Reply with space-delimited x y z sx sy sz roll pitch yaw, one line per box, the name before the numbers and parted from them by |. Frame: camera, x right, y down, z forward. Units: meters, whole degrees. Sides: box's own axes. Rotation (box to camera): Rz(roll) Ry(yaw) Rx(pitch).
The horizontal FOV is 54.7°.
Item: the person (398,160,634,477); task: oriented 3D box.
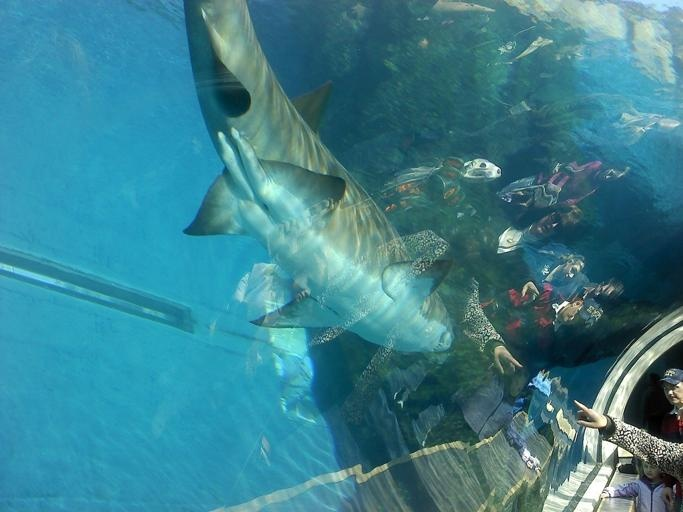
person | 1.458 0.282 4.367 1.498 1.013 0.656 39 34 -49
